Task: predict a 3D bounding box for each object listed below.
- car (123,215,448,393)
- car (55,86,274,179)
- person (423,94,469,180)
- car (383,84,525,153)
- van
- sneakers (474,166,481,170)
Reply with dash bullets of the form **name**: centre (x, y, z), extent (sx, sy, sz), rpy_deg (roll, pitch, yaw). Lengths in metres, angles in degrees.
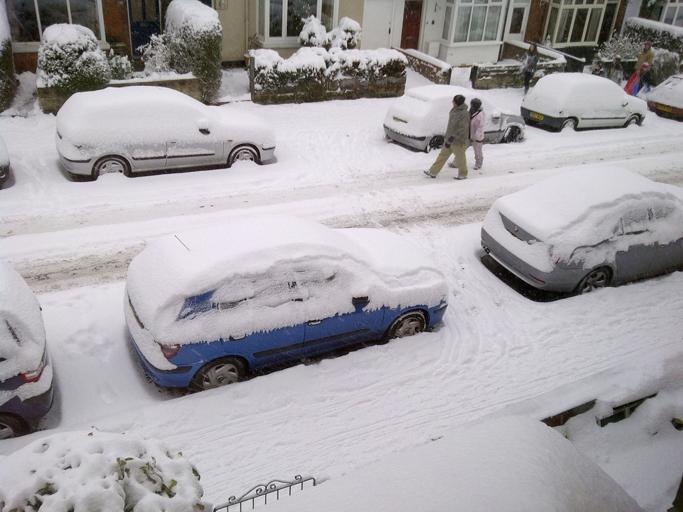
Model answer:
- **car**: centre (-0.824, 0.897, 8.964), extent (4.761, 1.815, 2.512), rpy_deg (-13, 49, -22)
- **car**: centre (-4.311, -2.806, 13.421), extent (4.575, 1.727, 2.505), rpy_deg (-11, 49, -24)
- **person**: centre (2.919, -3.036, 14.102), extent (1.147, 2.105, 0.553), rpy_deg (-2, 30, -16)
- **car**: centre (3.101, -3.937, 16.491), extent (3.220, 1.579, 2.303), rpy_deg (-16, 40, -17)
- **van**: centre (8.261, -5.071, 18.917), extent (3.350, 1.767, 2.478), rpy_deg (-14, 42, -11)
- **sneakers**: centre (3.803, -2.442, 15.078), extent (0.148, 0.102, 0.069), rpy_deg (-2, -10, -5)
